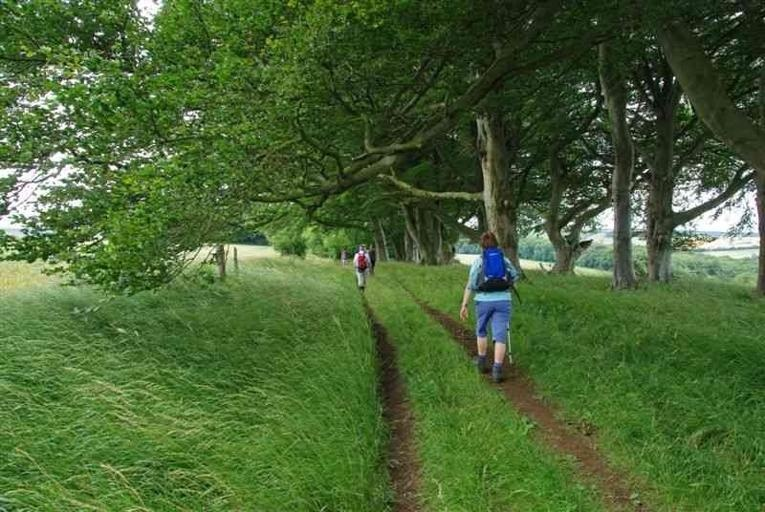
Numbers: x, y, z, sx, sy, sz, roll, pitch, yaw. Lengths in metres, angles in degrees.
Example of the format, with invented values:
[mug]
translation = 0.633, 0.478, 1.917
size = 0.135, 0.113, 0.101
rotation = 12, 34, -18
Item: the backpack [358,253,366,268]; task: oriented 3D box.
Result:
[backpack]
translation = -0.703, 0.164, 22.542
size = 0.274, 0.538, 0.466
rotation = 1, 1, 3
